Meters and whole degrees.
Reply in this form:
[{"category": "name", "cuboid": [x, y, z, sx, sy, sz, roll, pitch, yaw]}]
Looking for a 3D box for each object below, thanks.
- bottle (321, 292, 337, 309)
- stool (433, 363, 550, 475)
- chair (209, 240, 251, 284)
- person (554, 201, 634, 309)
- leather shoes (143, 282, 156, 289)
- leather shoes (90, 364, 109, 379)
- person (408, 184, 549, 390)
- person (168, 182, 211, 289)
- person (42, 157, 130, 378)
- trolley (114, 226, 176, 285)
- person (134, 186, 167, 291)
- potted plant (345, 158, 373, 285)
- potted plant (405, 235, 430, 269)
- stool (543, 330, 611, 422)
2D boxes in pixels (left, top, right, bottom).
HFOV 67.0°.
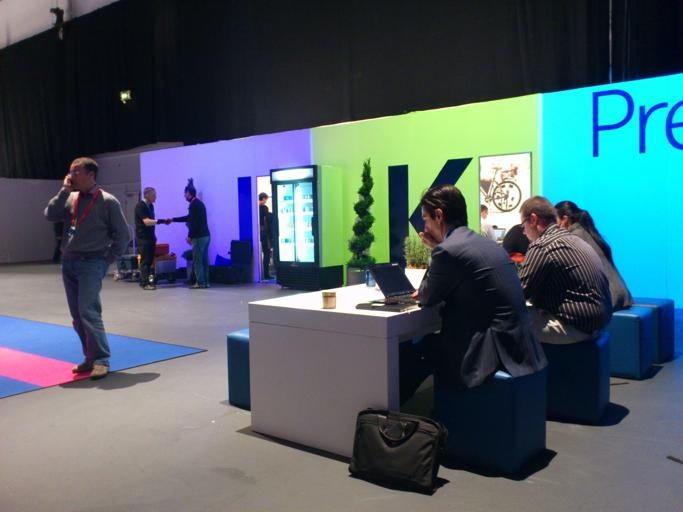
[{"category": "bottle", "cuboid": [-0.091, 0.290, 3.587, 0.095, 0.154, 0.095, 0, 8, 0]}, {"category": "stool", "cuboid": [1.041, 1.079, 3.609, 0.662, 0.675, 0.687, 5, -12, -37]}, {"category": "chair", "cuboid": [-2.627, 0.143, 11.243, 0.553, 0.872, 0.439, 6, 3, 11]}, {"category": "person", "cuboid": [2.464, 0.060, 5.164, 0.548, 1.319, 0.470, -8, 22, 23]}, {"category": "leather shoes", "cuboid": [-3.924, 0.587, 10.531, 0.223, 0.111, 0.389, -4, 8, -28]}, {"category": "leather shoes", "cuboid": [-2.328, 1.095, 4.944, 0.079, 0.090, 0.190, 0, -12, 2]}, {"category": "person", "cuboid": [0.917, 0.147, 3.545, 0.601, 1.341, 0.780, -7, 1, -41]}, {"category": "person", "cuboid": [-3.140, -0.509, 10.802, 0.632, 2.239, 1.150, -3, 7, -19]}, {"category": "person", "cuboid": [-2.478, 0.091, 5.048, 0.720, 2.094, 0.458, 2, 7, 19]}, {"category": "trolley", "cuboid": [-4.329, -0.120, 11.394, 1.078, 1.329, 0.877, 1, 3, 11]}, {"category": "person", "cuboid": [-4.022, -0.429, 10.811, 0.536, 2.060, 1.092, -3, 7, -20]}, {"category": "potted plant", "cuboid": [0.344, -0.595, 9.163, 0.510, 2.270, 0.661, -1, 7, 1]}, {"category": "potted plant", "cuboid": [1.160, -0.068, 7.849, 0.387, 0.685, 0.565, 0, 3, 20]}, {"category": "stool", "cuboid": [1.830, 0.920, 4.147, 0.541, 0.669, 0.574, 1, 3, 35]}]
